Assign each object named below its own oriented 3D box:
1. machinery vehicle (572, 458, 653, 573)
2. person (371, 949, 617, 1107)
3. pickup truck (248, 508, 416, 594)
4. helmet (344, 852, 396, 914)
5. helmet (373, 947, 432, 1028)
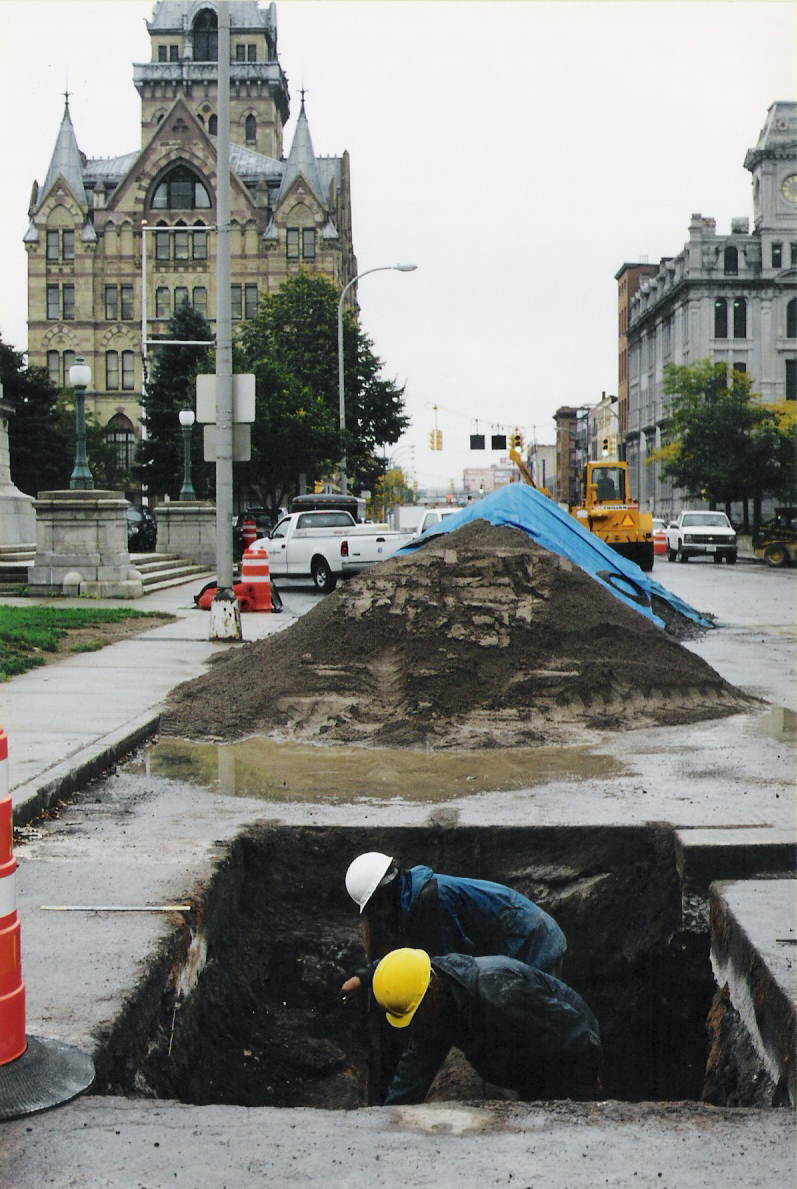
[{"bbox_3d":[3.312,-1.253,36.792,0.800,1.603,2.255,-7,-2,20],"label":"machinery vehicle"},{"bbox_3d":[0.383,1.715,9.249,1.006,0.718,0.315,-2,11,-22],"label":"person"},{"bbox_3d":[-0.828,-0.419,28.861,0.915,1.077,2.502,-5,15,-33],"label":"pickup truck"},{"bbox_3d":[-0.111,1.176,9.614,0.192,0.227,0.183,4,11,5],"label":"helmet"},{"bbox_3d":[0.012,1.482,9.039,0.187,0.310,0.108,-5,-18,36],"label":"helmet"}]
